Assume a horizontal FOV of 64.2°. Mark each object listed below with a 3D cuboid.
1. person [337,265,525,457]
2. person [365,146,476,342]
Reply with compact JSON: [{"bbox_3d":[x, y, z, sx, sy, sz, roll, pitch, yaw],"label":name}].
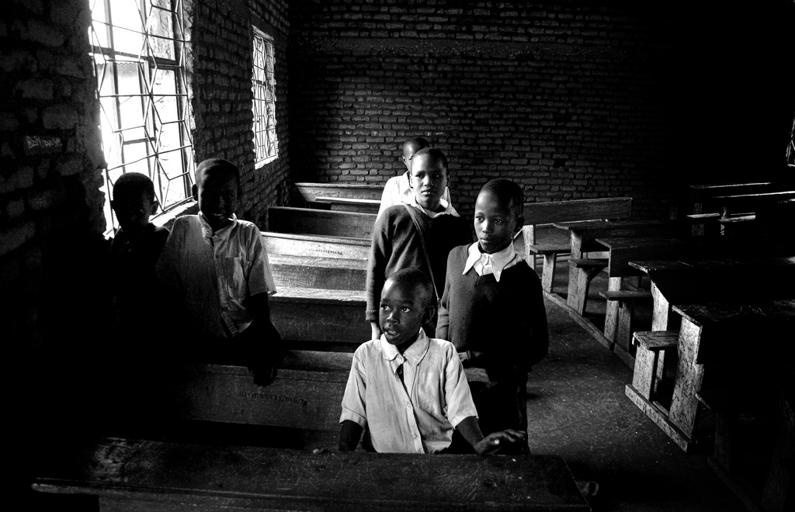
[{"bbox_3d":[0.080,0.609,3.591,1.397,1.135,0.828,-2,2,-3],"label":"person"},{"bbox_3d":[0.123,0.121,4.472,0.640,1.703,0.352,12,29,2],"label":"person"}]
